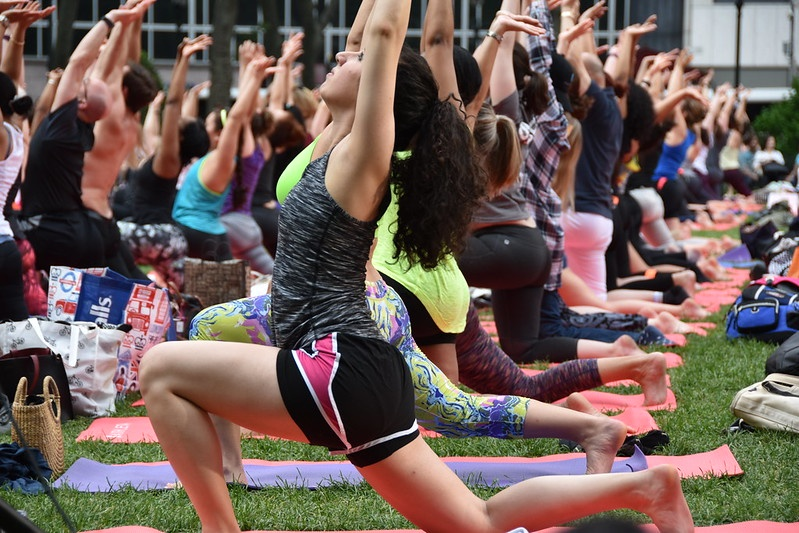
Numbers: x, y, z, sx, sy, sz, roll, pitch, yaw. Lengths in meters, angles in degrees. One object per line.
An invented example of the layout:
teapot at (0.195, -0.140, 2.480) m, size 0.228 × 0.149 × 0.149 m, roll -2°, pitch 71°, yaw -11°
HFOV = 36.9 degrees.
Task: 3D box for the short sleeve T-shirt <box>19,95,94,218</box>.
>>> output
short sleeve T-shirt at (-2.840, -1.004, 10.222) m, size 0.358 × 0.885 × 0.405 m, roll -4°, pitch 13°, yaw -9°

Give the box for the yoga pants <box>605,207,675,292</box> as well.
yoga pants at (2.529, -0.203, 12.665) m, size 0.730 × 0.957 × 0.913 m, roll 1°, pitch 0°, yaw -3°

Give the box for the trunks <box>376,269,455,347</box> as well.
trunks at (0.142, 0.366, 8.653) m, size 0.561 × 0.202 × 0.418 m, roll 47°, pitch 6°, yaw 0°

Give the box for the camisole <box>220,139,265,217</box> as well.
camisole at (-1.650, -0.946, 12.381) m, size 0.404 × 0.740 × 0.588 m, roll 23°, pitch 17°, yaw 15°

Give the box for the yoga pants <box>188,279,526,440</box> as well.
yoga pants at (-0.183, 0.712, 8.190) m, size 2.787 × 1.248 × 0.724 m, roll 6°, pitch -16°, yaw -9°
